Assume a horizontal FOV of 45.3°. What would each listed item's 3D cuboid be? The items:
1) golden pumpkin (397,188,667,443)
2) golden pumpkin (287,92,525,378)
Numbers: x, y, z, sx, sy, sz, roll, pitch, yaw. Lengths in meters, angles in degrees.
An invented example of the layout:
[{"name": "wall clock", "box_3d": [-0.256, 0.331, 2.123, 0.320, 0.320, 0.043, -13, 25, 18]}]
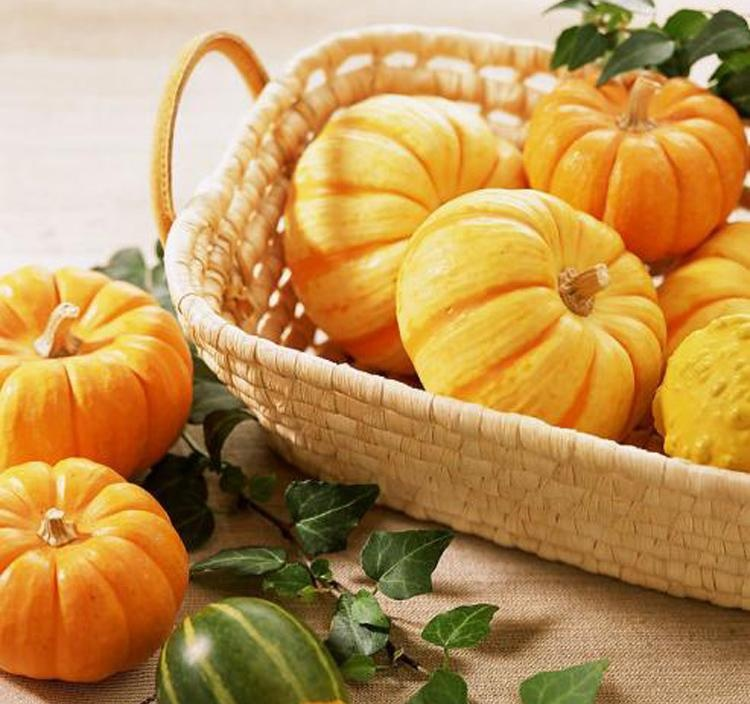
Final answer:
[{"name": "golden pumpkin", "box_3d": [0.117, -0.028, 0.837, 0.231, 0.219, 0.162, 7, -19, -24]}, {"name": "golden pumpkin", "box_3d": [0.012, -0.103, 0.957, 0.280, 0.263, 0.152, -3, -15, -11]}]
